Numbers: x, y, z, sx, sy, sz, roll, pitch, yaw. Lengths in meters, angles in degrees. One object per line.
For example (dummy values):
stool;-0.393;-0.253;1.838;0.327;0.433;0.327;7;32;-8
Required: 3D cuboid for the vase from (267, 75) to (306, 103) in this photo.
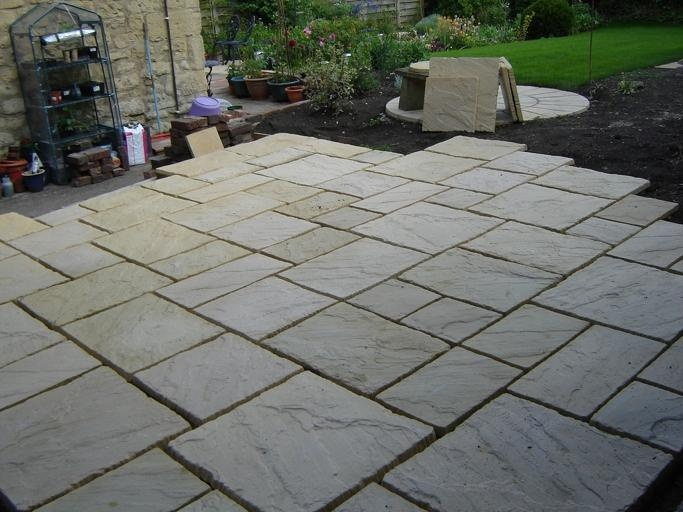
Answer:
vase;-1.112;-3.204;10.141;0.879;0.350;0.614;-2;32;-1
